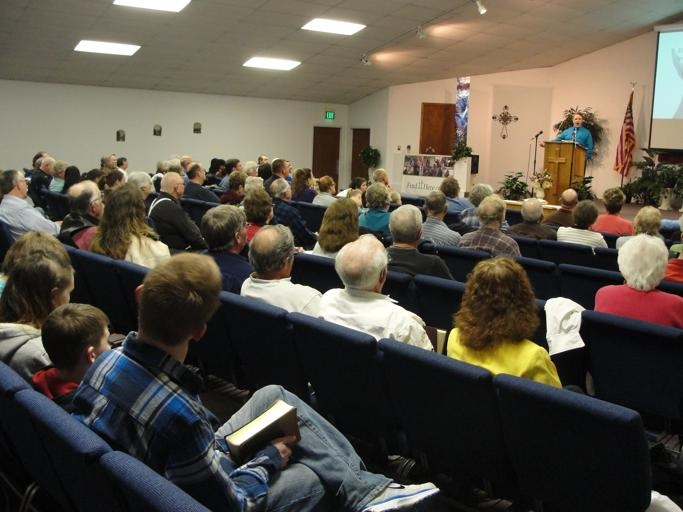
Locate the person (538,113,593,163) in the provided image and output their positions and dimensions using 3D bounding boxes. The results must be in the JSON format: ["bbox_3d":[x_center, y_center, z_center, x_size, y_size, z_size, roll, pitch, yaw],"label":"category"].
[{"bbox_3d":[6.162,-3.004,12.564,0.956,1.589,0.724,3,3,21],"label":"person"}]
